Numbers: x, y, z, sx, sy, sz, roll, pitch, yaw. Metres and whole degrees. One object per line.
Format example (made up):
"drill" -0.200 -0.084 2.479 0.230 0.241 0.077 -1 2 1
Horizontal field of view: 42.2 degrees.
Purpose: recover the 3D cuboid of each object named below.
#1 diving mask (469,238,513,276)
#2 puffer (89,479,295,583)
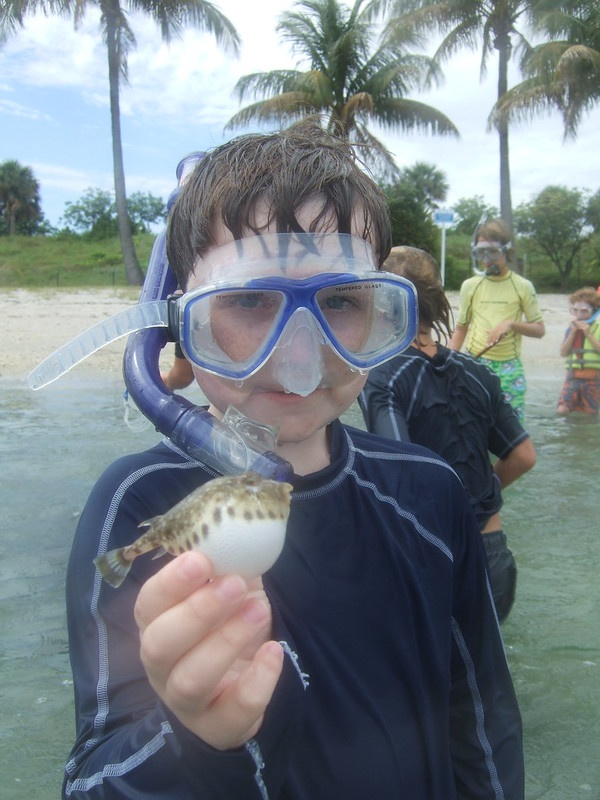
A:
"diving mask" 1.664 -1.240 6.712 0.276 0.168 0.323 5 31 27
"puffer" -0.193 0.242 1.379 0.346 0.160 0.172 -18 -24 -3
